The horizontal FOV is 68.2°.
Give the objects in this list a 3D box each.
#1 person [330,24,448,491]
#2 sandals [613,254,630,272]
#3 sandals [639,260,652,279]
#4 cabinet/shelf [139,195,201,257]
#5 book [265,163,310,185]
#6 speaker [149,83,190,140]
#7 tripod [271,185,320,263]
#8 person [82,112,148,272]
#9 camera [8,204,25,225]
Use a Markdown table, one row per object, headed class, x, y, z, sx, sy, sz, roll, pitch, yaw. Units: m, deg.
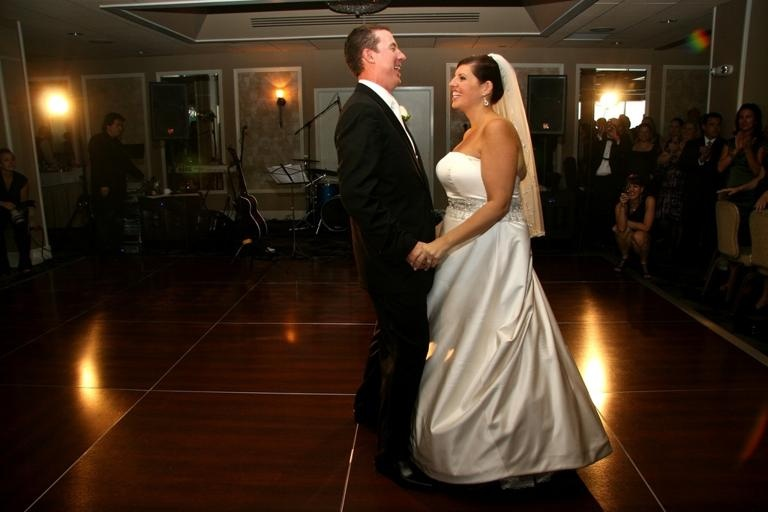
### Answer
| class | x | y | z | sx | sy | sz | roll | pitch | yaw |
| --- | --- | --- | --- | --- | --- | --- | --- | --- | --- |
| person | 0.031 | 0.028 | 3.316 | 0.541 | 2.652 | 0.487 | -1 | 14 | 5 |
| sandals | 3.092 | 0.091 | 7.334 | 0.114 | 0.211 | 0.050 | 10 | 42 | -8 |
| sandals | 3.247 | 0.167 | 7.007 | 0.109 | 0.250 | 0.096 | -38 | 30 | -8 |
| cabinet/shelf | -3.467 | -0.490 | 9.132 | 1.290 | 0.708 | 1.230 | -3 | 13 | 2 |
| book | -1.413 | -1.215 | 8.315 | 0.482 | 0.292 | 0.548 | -2 | 14 | 2 |
| speaker | -3.694 | -2.500 | 9.703 | 0.642 | 0.958 | 0.291 | -6 | 14 | -13 |
| tripod | -1.498 | -0.748 | 9.571 | 0.775 | 0.882 | 3.353 | -4 | 14 | -7 |
| person | -4.056 | -1.089 | 8.419 | 0.587 | 2.033 | 0.745 | 8 | 17 | 36 |
| camera | -4.748 | -0.536 | 7.296 | 0.144 | 0.212 | 0.127 | -13 | 17 | -37 |
